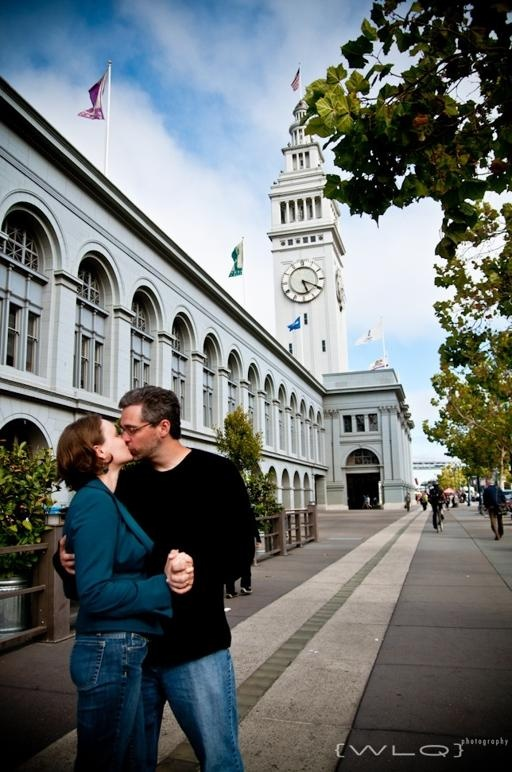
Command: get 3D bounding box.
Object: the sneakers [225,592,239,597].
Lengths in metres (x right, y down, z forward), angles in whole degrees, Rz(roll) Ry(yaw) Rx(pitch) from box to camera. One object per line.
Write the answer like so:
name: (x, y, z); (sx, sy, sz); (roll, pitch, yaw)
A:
sneakers: (-0.432, 3.795, 9.876); (0.087, 0.108, 0.261); (-6, -9, 41)

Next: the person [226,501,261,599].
person: (-0.155, 1.223, 4.158); (0.301, 1.067, 0.280); (-5, 37, -3)
